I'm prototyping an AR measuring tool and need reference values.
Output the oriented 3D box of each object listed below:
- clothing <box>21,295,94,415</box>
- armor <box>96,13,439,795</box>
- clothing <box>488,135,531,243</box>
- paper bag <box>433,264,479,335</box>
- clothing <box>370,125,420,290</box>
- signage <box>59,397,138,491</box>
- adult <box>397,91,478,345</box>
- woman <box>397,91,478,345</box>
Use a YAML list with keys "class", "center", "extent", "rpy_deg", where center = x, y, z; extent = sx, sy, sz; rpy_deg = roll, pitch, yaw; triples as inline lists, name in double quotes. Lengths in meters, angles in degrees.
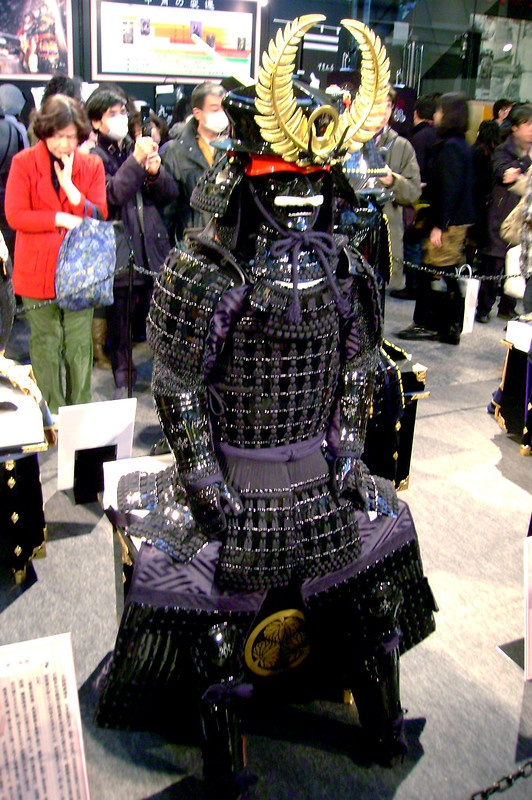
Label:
- class: "clothing"
  center: [-1.193, -0.336, 3.342]
  extent: [0.304, 1.038, 0.248]
  rpy_deg: [-3, 44, -24]
- class: "armor"
  center: [0.006, 0.154, 1.342]
  extent: [0.852, 1.802, 0.461]
  rpy_deg: [-7, 20, -25]
- class: "clothing"
  center: [2.353, -2.004, 5.654]
  extent: [0.350, 1.109, 0.334]
  rpy_deg: [9, 19, 20]
- class: "paper bag"
  center: [1.789, -0.940, 5.346]
  extent: [0.287, 0.608, 0.322]
  rpy_deg: [3, 6, 41]
- class: "clothing"
  center: [1.003, -1.593, 4.780]
  extent: [0.367, 1.332, 0.513]
  rpy_deg: [-30, 37, -34]
- class: "signage"
  center: [-0.772, 0.206, 2.606]
  extent: [0.436, 0.544, 0.035]
  rpy_deg: [-7, 35, -31]
- class: "adult"
  center: [1.706, -1.745, 5.602]
  extent: [0.610, 2.256, 0.652]
  rpy_deg: [9, 26, 30]
- class: "woman"
  center: [1.680, -1.711, 5.607]
  extent: [0.642, 2.295, 0.673]
  rpy_deg: [8, 22, 27]
